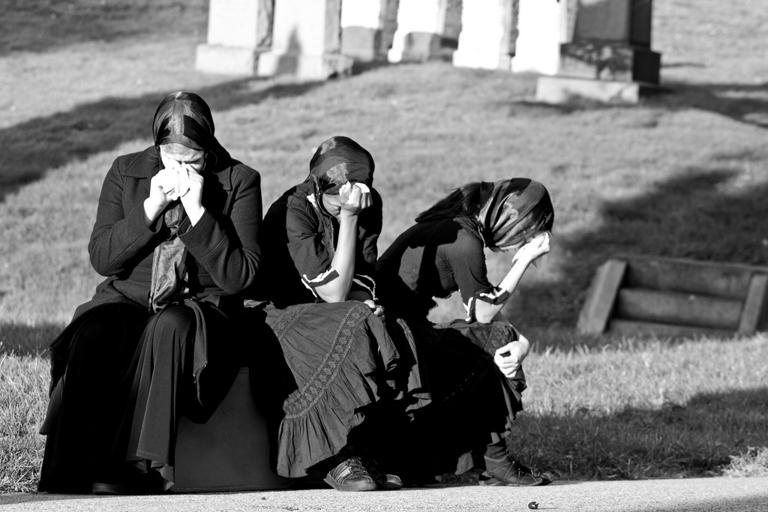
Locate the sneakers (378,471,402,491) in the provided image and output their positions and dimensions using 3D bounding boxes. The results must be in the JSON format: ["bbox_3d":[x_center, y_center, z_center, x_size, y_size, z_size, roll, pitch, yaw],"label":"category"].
[{"bbox_3d":[0.018,1.431,10.324,0.121,0.055,0.156,2,-2,2],"label":"sneakers"}]

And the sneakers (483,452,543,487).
[{"bbox_3d":[0.787,1.408,10.643,0.459,0.194,0.168,0,1,-2],"label":"sneakers"}]

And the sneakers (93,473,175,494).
[{"bbox_3d":[-1.583,1.433,10.259,0.542,0.207,0.178,3,-5,-5],"label":"sneakers"}]

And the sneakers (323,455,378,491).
[{"bbox_3d":[-0.254,1.333,10.271,0.345,0.151,0.156,-1,-17,-5],"label":"sneakers"}]
